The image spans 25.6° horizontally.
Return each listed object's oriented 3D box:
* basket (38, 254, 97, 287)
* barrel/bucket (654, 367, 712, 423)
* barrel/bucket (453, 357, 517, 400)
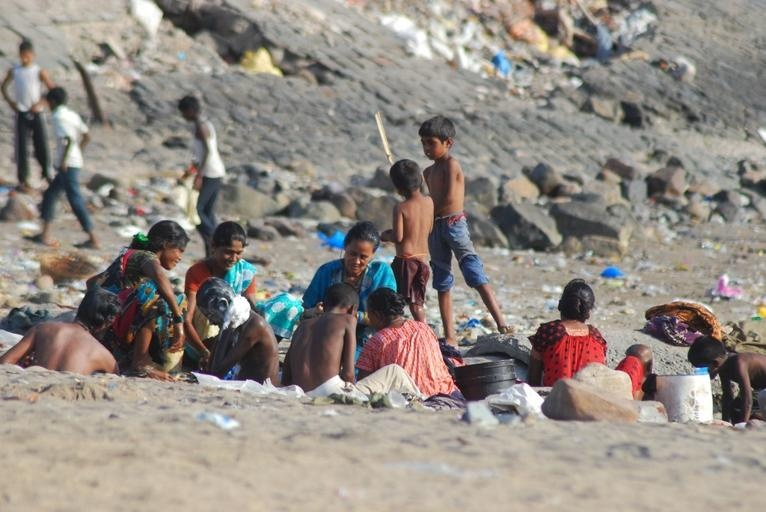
[{"bbox_3d":[-4.663,0.123,25.008,0.717,0.478,0.428,-14,-23,-34],"label":"basket"},{"bbox_3d":[4.173,1.920,23.229,0.667,0.700,0.650,-2,-4,0],"label":"barrel/bucket"},{"bbox_3d":[1.441,1.680,23.239,0.633,0.410,0.579,-16,-12,-4],"label":"barrel/bucket"}]
